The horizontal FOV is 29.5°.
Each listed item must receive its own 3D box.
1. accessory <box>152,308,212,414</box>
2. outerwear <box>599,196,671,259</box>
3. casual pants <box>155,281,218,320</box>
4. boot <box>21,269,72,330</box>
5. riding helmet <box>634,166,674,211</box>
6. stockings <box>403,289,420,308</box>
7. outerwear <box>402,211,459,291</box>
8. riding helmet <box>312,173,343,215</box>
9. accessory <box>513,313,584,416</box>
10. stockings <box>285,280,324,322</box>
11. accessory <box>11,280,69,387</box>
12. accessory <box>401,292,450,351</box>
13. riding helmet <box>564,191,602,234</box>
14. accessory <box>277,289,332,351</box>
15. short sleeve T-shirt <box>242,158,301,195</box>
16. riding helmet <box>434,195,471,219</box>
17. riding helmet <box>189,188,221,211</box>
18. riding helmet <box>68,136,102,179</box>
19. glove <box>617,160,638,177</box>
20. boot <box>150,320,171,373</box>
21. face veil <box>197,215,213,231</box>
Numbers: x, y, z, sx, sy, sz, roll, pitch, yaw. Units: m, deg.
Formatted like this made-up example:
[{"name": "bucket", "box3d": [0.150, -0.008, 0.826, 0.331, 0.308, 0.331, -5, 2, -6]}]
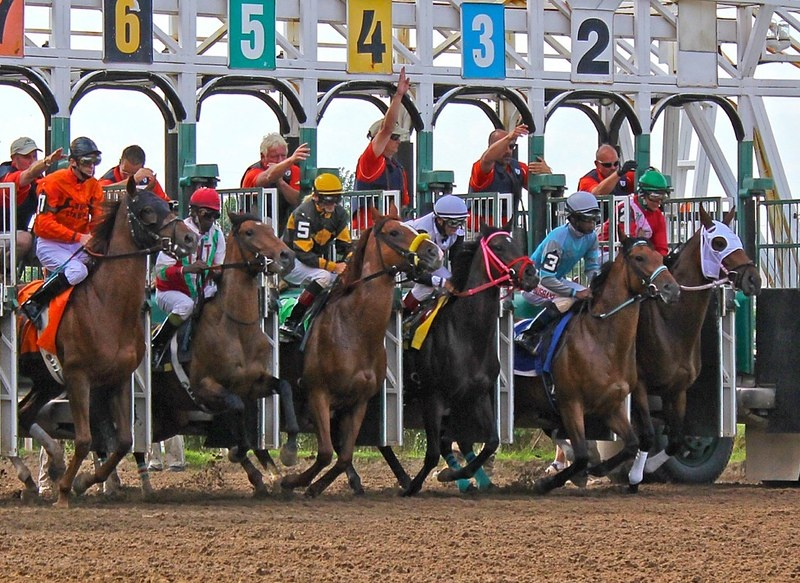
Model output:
[{"name": "accessory", "box3d": [-1.853, 0.444, 13.228, 0.546, 1.218, 0.318, -9, -7, 21]}, {"name": "outerwear", "box3d": [2.179, -0.639, 14.370, 0.430, 0.308, 0.667, 32, -5, -31]}, {"name": "casual pants", "box3d": [-1.797, 0.081, 12.944, 0.623, 0.283, 0.129, -4, -4, 32]}, {"name": "boot", "box3d": [-2.914, 0.037, 12.575, 0.474, 0.414, 0.196, -44, -23, 30]}, {"name": "riding helmet", "box3d": [2.370, -0.975, 14.219, 0.302, 0.369, 0.297, -2, -3, 6]}, {"name": "stockings", "box3d": [0.094, 0.060, 13.531, 0.106, 0.171, 0.142, -3, -4, -29]}, {"name": "outerwear", "box3d": [0.302, -0.371, 13.397, 0.466, 0.681, 0.755, -3, -3, 12]}, {"name": "riding helmet", "box3d": [-0.633, -0.869, 13.017, 0.218, 0.353, 0.327, -4, 29, -16]}, {"name": "accessory", "box3d": [1.286, 0.605, 13.603, 0.276, 0.863, 0.650, 0, -3, -36]}, {"name": "stockings", "box3d": [-0.813, 0.077, 13.185, 0.092, 0.426, 0.126, 25, 37, -16]}, {"name": "accessory", "box3d": [-2.962, 0.326, 12.680, 0.385, 0.610, 0.805, 1, 26, -21]}, {"name": "accessory", "box3d": [0.211, 0.236, 13.257, 0.172, 0.502, 0.348, 37, -2, -3]}, {"name": "riding helmet", "box3d": [1.605, -0.728, 13.423, 0.306, 0.382, 0.280, -2, 7, 44]}, {"name": "accessory", "box3d": [-0.847, 0.236, 13.146, 0.407, 0.279, 0.853, -17, 34, 5]}, {"name": "short sleeve T-shirt", "box3d": [-1.180, -1.105, 14.304, 0.717, 0.324, 0.680, -1, -3, -23]}, {"name": "riding helmet", "box3d": [0.438, -0.758, 13.127, 0.206, 0.182, 0.210, -18, 38, -11]}, {"name": "riding helmet", "box3d": [-1.615, -0.803, 12.815, 0.210, 0.141, 0.166, 5, 26, -12]}, {"name": "riding helmet", "box3d": [-2.614, -1.113, 12.709, 0.240, 0.375, 0.325, 9, -16, -32]}, {"name": "glove", "box3d": [2.177, -1.164, 14.681, 0.188, 0.070, 0.145, -31, -4, 31]}, {"name": "boot", "box3d": [-2.073, 0.462, 13.147, 0.120, 0.530, 0.202, 12, 34, 10]}, {"name": "face veil", "box3d": [-1.637, -0.575, 12.869, 0.091, 0.120, 0.126, 8, -28, -6]}]
